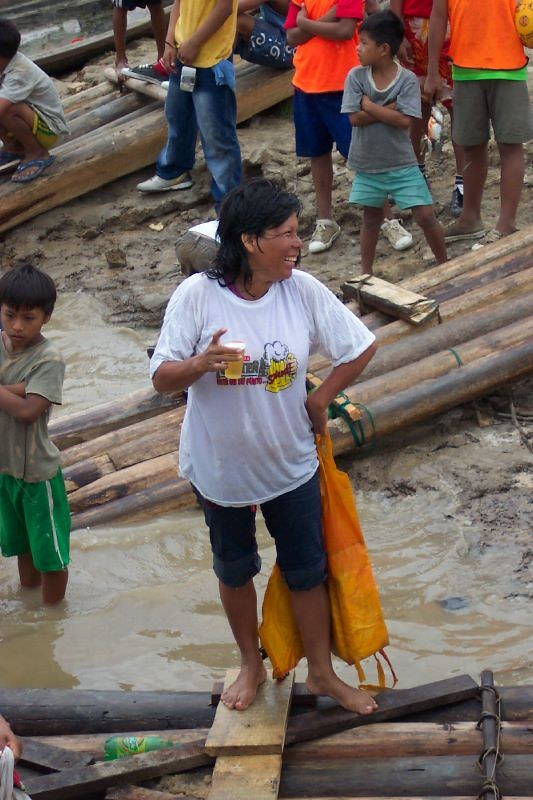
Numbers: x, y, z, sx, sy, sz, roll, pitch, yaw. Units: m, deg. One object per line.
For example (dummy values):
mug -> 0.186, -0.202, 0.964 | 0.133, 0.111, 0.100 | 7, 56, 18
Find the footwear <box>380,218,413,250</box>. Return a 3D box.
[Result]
footwear -> 0.950, -1.186, 6.649 | 0.138, 0.164, 0.364 | -34, 33, -3

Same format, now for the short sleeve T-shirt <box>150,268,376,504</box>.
short sleeve T-shirt -> -0.038, -0.060, 2.841 | 0.829, 0.665, 0.361 | -7, 26, -22

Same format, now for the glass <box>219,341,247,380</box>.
glass -> -0.085, -0.115, 2.632 | 0.112, 0.126, 0.097 | -1, 26, -3

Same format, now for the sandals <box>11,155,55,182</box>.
sandals -> -2.121, -2.082, 8.305 | 0.393, 0.114, 0.199 | -33, 44, -12

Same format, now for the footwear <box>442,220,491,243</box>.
footwear -> 1.364, -1.165, 6.398 | 0.375, 0.146, 0.117 | 0, 48, 7

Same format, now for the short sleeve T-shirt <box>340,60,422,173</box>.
short sleeve T-shirt -> 0.675, -1.690, 5.501 | 0.537, 0.586, 0.342 | -2, 27, -4

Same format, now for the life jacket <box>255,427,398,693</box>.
life jacket -> 0.167, 0.562, 3.030 | 0.412, 0.703, 0.260 | -3, 11, -2
